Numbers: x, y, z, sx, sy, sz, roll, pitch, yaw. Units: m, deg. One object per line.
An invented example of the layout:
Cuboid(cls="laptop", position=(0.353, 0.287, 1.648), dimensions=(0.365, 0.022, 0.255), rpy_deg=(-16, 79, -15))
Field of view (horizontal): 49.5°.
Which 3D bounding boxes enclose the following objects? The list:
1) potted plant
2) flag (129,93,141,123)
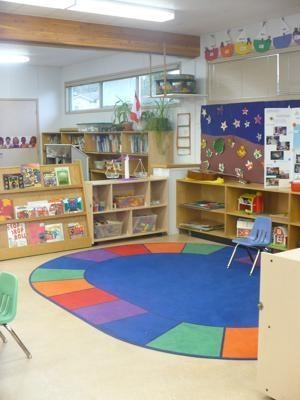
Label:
Cuboid(cls="potted plant", position=(-0.469, -2.009, 7.629), dimensions=(0.661, 0.858, 2.095), rpy_deg=(-3, 14, -33))
Cuboid(cls="flag", position=(-0.289, -1.835, 6.471), dimensions=(0.183, 0.532, 0.644), rpy_deg=(-1, 3, -4))
